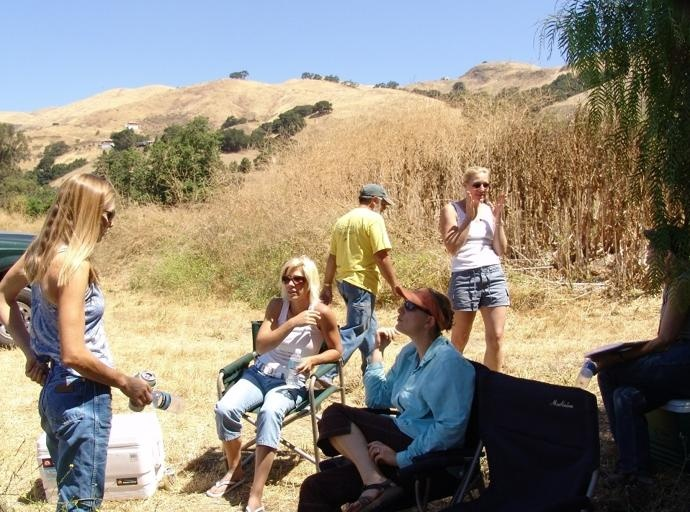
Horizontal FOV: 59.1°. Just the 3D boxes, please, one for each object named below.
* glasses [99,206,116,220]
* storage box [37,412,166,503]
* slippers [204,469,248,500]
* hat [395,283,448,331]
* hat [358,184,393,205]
[{"bbox_3d":[-1.418,-0.252,3.637,0.057,0.074,0.082,2,22,-9],"label":"glasses"},{"bbox_3d":[-1.698,1.574,4.538,0.823,0.584,0.848,-1,-1,-15],"label":"storage box"},{"bbox_3d":[-0.930,1.788,4.756,0.114,0.154,0.314,-2,-5,37],"label":"slippers"},{"bbox_3d":[0.548,0.369,4.059,0.304,0.138,0.229,36,1,1],"label":"hat"},{"bbox_3d":[0.337,-0.632,6.120,0.352,0.196,0.237,4,7,-19],"label":"hat"}]
